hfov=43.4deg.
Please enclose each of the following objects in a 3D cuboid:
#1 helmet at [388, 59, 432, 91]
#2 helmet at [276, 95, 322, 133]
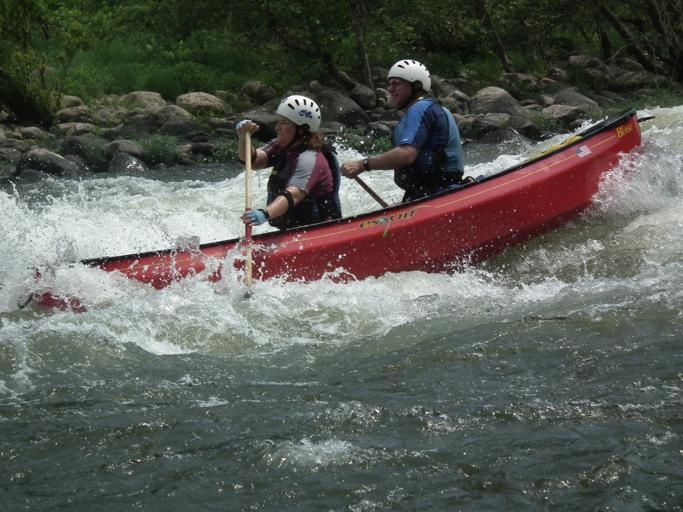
[{"bbox_3d":[0.710,-1.843,8.736,0.430,0.297,0.291,-15,19,1],"label":"helmet"},{"bbox_3d":[-0.404,-1.399,8.323,0.465,0.306,0.306,-11,37,-27],"label":"helmet"}]
